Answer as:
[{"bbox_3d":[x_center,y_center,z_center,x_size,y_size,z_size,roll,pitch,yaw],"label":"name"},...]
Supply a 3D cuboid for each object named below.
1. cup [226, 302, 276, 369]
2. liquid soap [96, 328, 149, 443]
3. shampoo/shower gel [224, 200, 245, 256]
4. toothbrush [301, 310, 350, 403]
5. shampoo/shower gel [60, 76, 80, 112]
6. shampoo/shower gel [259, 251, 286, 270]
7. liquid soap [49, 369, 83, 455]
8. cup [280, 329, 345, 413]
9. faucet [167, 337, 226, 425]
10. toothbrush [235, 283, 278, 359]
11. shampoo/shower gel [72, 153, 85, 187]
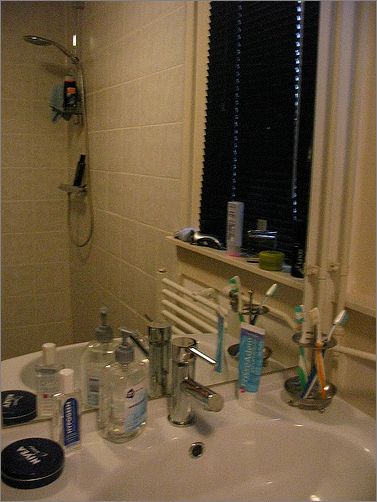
[{"bbox_3d":[0.133,0.187,1.004,0.104,0.169,0.096,12,0,0],"label":"cup"},{"bbox_3d":[-0.119,0.272,0.765,0.092,0.145,0.067,2,10,-11],"label":"liquid soap"},{"bbox_3d":[0.119,-0.060,1.050,0.044,0.131,0.033,9,17,29],"label":"shampoo/shower gel"},{"bbox_3d":[0.315,0.242,0.949,0.026,0.243,0.026,6,18,-4],"label":"toothbrush"},{"bbox_3d":[-0.219,-0.293,0.786,0.038,0.061,0.035,-4,-4,-20],"label":"shampoo/shower gel"},{"bbox_3d":[0.204,0.024,1.020,0.049,0.036,0.049,-1,6,-13],"label":"shampoo/shower gel"},{"bbox_3d":[-0.217,0.268,0.739,0.047,0.148,0.088,0,11,-24],"label":"liquid soap"},{"bbox_3d":[0.282,0.270,0.931,0.108,0.149,0.100,2,10,0],"label":"cup"},{"bbox_3d":[0.011,0.272,0.806,0.065,0.163,0.168,-1,6,-30],"label":"faucet"},{"bbox_3d":[0.165,0.168,1.018,0.128,0.197,0.107,0,3,2],"label":"toothbrush"},{"bbox_3d":[-0.209,-0.155,0.797,0.008,0.063,0.024,12,13,41],"label":"shampoo/shower gel"}]
